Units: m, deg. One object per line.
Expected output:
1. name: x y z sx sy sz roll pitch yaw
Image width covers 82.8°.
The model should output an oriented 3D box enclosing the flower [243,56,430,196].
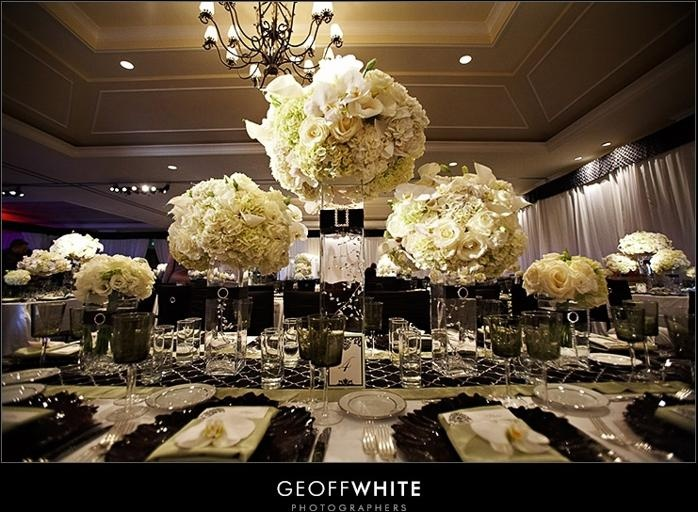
1. flower: -0.065 -0.507 1.843 0.707 0.528 0.712 1 3 -11

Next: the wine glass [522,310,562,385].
1. wine glass: 0.865 0.403 1.764 0.163 0.317 0.086 -5 -9 25

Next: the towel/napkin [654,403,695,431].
1. towel/napkin: 1.361 0.666 1.644 0.103 0.025 0.107 -5 -3 8

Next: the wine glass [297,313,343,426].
1. wine glass: -0.128 0.484 1.736 0.190 0.453 0.304 0 -8 -7

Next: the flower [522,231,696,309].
1. flower: 2.492 0.096 3.586 0.857 0.343 0.365 -11 10 -11

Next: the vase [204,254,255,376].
1. vase: -0.664 0.281 2.096 0.210 0.711 0.182 5 -23 -20

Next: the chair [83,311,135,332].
1. chair: -1.217 0.308 2.001 0.193 0.125 0.200 -2 -6 13

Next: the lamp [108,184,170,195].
1. lamp: -4.075 -1.298 7.661 0.970 0.252 0.164 -1 -2 -10

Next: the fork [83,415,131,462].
1. fork: -0.940 0.714 1.544 0.057 0.006 0.165 10 15 1

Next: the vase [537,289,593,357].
1. vase: 1.195 0.396 2.143 0.174 0.289 0.177 4 -8 14

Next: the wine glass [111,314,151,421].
1. wine glass: -0.959 0.467 1.732 0.154 0.440 0.208 4 -9 -31

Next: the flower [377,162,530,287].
1. flower: 0.512 -0.110 2.033 0.840 0.601 0.766 -7 6 -15

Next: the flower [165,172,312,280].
1. flower: -0.521 -0.154 2.050 0.532 0.482 0.549 0 4 3

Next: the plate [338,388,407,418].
1. plate: 0.097 0.638 1.704 0.286 0.096 0.168 -1 -8 -2

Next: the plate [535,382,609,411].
1. plate: 0.980 0.612 1.757 0.292 0.102 0.160 -2 -8 9
